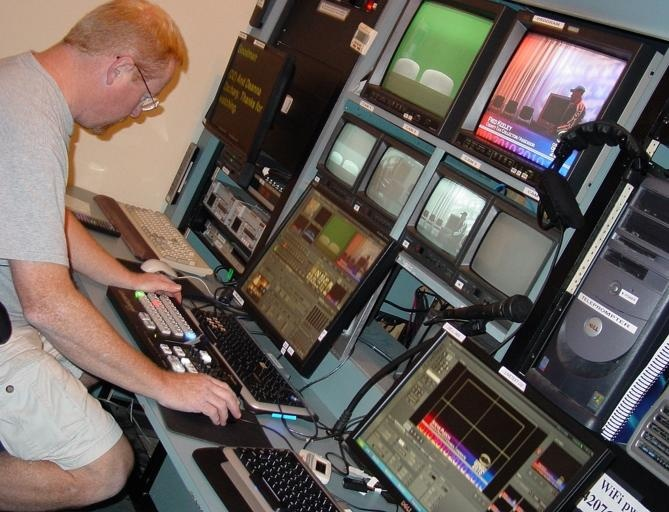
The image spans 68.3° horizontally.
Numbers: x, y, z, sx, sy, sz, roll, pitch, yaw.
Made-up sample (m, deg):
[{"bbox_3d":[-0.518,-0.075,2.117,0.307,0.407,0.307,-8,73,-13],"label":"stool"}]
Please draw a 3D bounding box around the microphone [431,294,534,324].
[{"bbox_3d":[0.435,0.161,1.527,0.339,0.097,0.093,-8,32,49],"label":"microphone"}]

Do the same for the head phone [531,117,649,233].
[{"bbox_3d":[0.675,-0.249,1.343,0.231,0.316,0.089,22,-5,15],"label":"head phone"}]

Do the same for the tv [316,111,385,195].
[{"bbox_3d":[0.083,-0.411,2.116,0.079,0.312,0.326,8,22,-46],"label":"tv"}]

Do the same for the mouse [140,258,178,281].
[{"bbox_3d":[-0.763,0.067,2.201,0.166,0.062,0.080,9,17,-44],"label":"mouse"}]

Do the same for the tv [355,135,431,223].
[{"bbox_3d":[0.233,-0.295,1.913,0.276,0.291,0.069,31,15,36],"label":"tv"}]

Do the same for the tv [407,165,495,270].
[{"bbox_3d":[0.387,-0.115,1.819,0.233,0.353,0.186,29,-29,2],"label":"tv"}]

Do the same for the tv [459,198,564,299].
[{"bbox_3d":[0.572,-0.020,1.563,0.191,0.287,0.148,32,9,39],"label":"tv"}]

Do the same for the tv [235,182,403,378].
[{"bbox_3d":[-0.058,0.073,2.030,0.174,0.645,0.700,35,1,-40],"label":"tv"}]

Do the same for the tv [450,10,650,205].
[{"bbox_3d":[0.674,-0.453,1.500,0.161,0.504,0.486,21,10,-45],"label":"tv"}]
